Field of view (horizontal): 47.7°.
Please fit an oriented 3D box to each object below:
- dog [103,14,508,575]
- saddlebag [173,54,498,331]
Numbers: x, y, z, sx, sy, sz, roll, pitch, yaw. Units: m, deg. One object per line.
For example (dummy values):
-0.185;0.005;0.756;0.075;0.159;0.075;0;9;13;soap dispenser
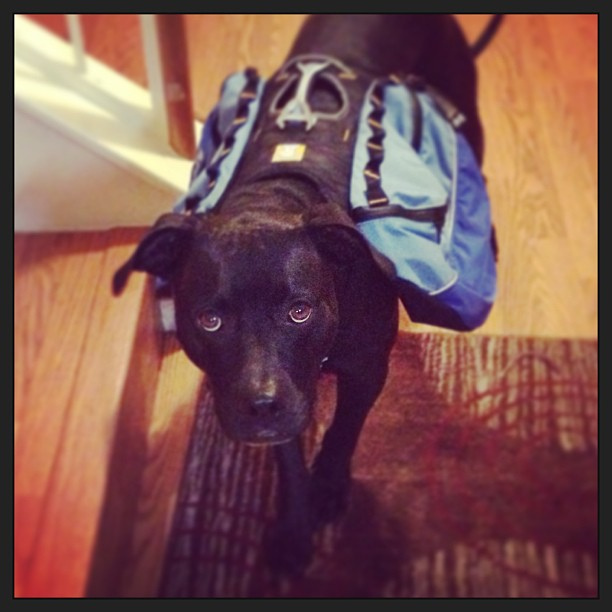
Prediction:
0.095;-0.359;1.645;0.450;0.741;1.915;2;68;9;dog
0.074;-0.233;1.478;0.668;0.540;0.380;3;24;14;saddlebag
